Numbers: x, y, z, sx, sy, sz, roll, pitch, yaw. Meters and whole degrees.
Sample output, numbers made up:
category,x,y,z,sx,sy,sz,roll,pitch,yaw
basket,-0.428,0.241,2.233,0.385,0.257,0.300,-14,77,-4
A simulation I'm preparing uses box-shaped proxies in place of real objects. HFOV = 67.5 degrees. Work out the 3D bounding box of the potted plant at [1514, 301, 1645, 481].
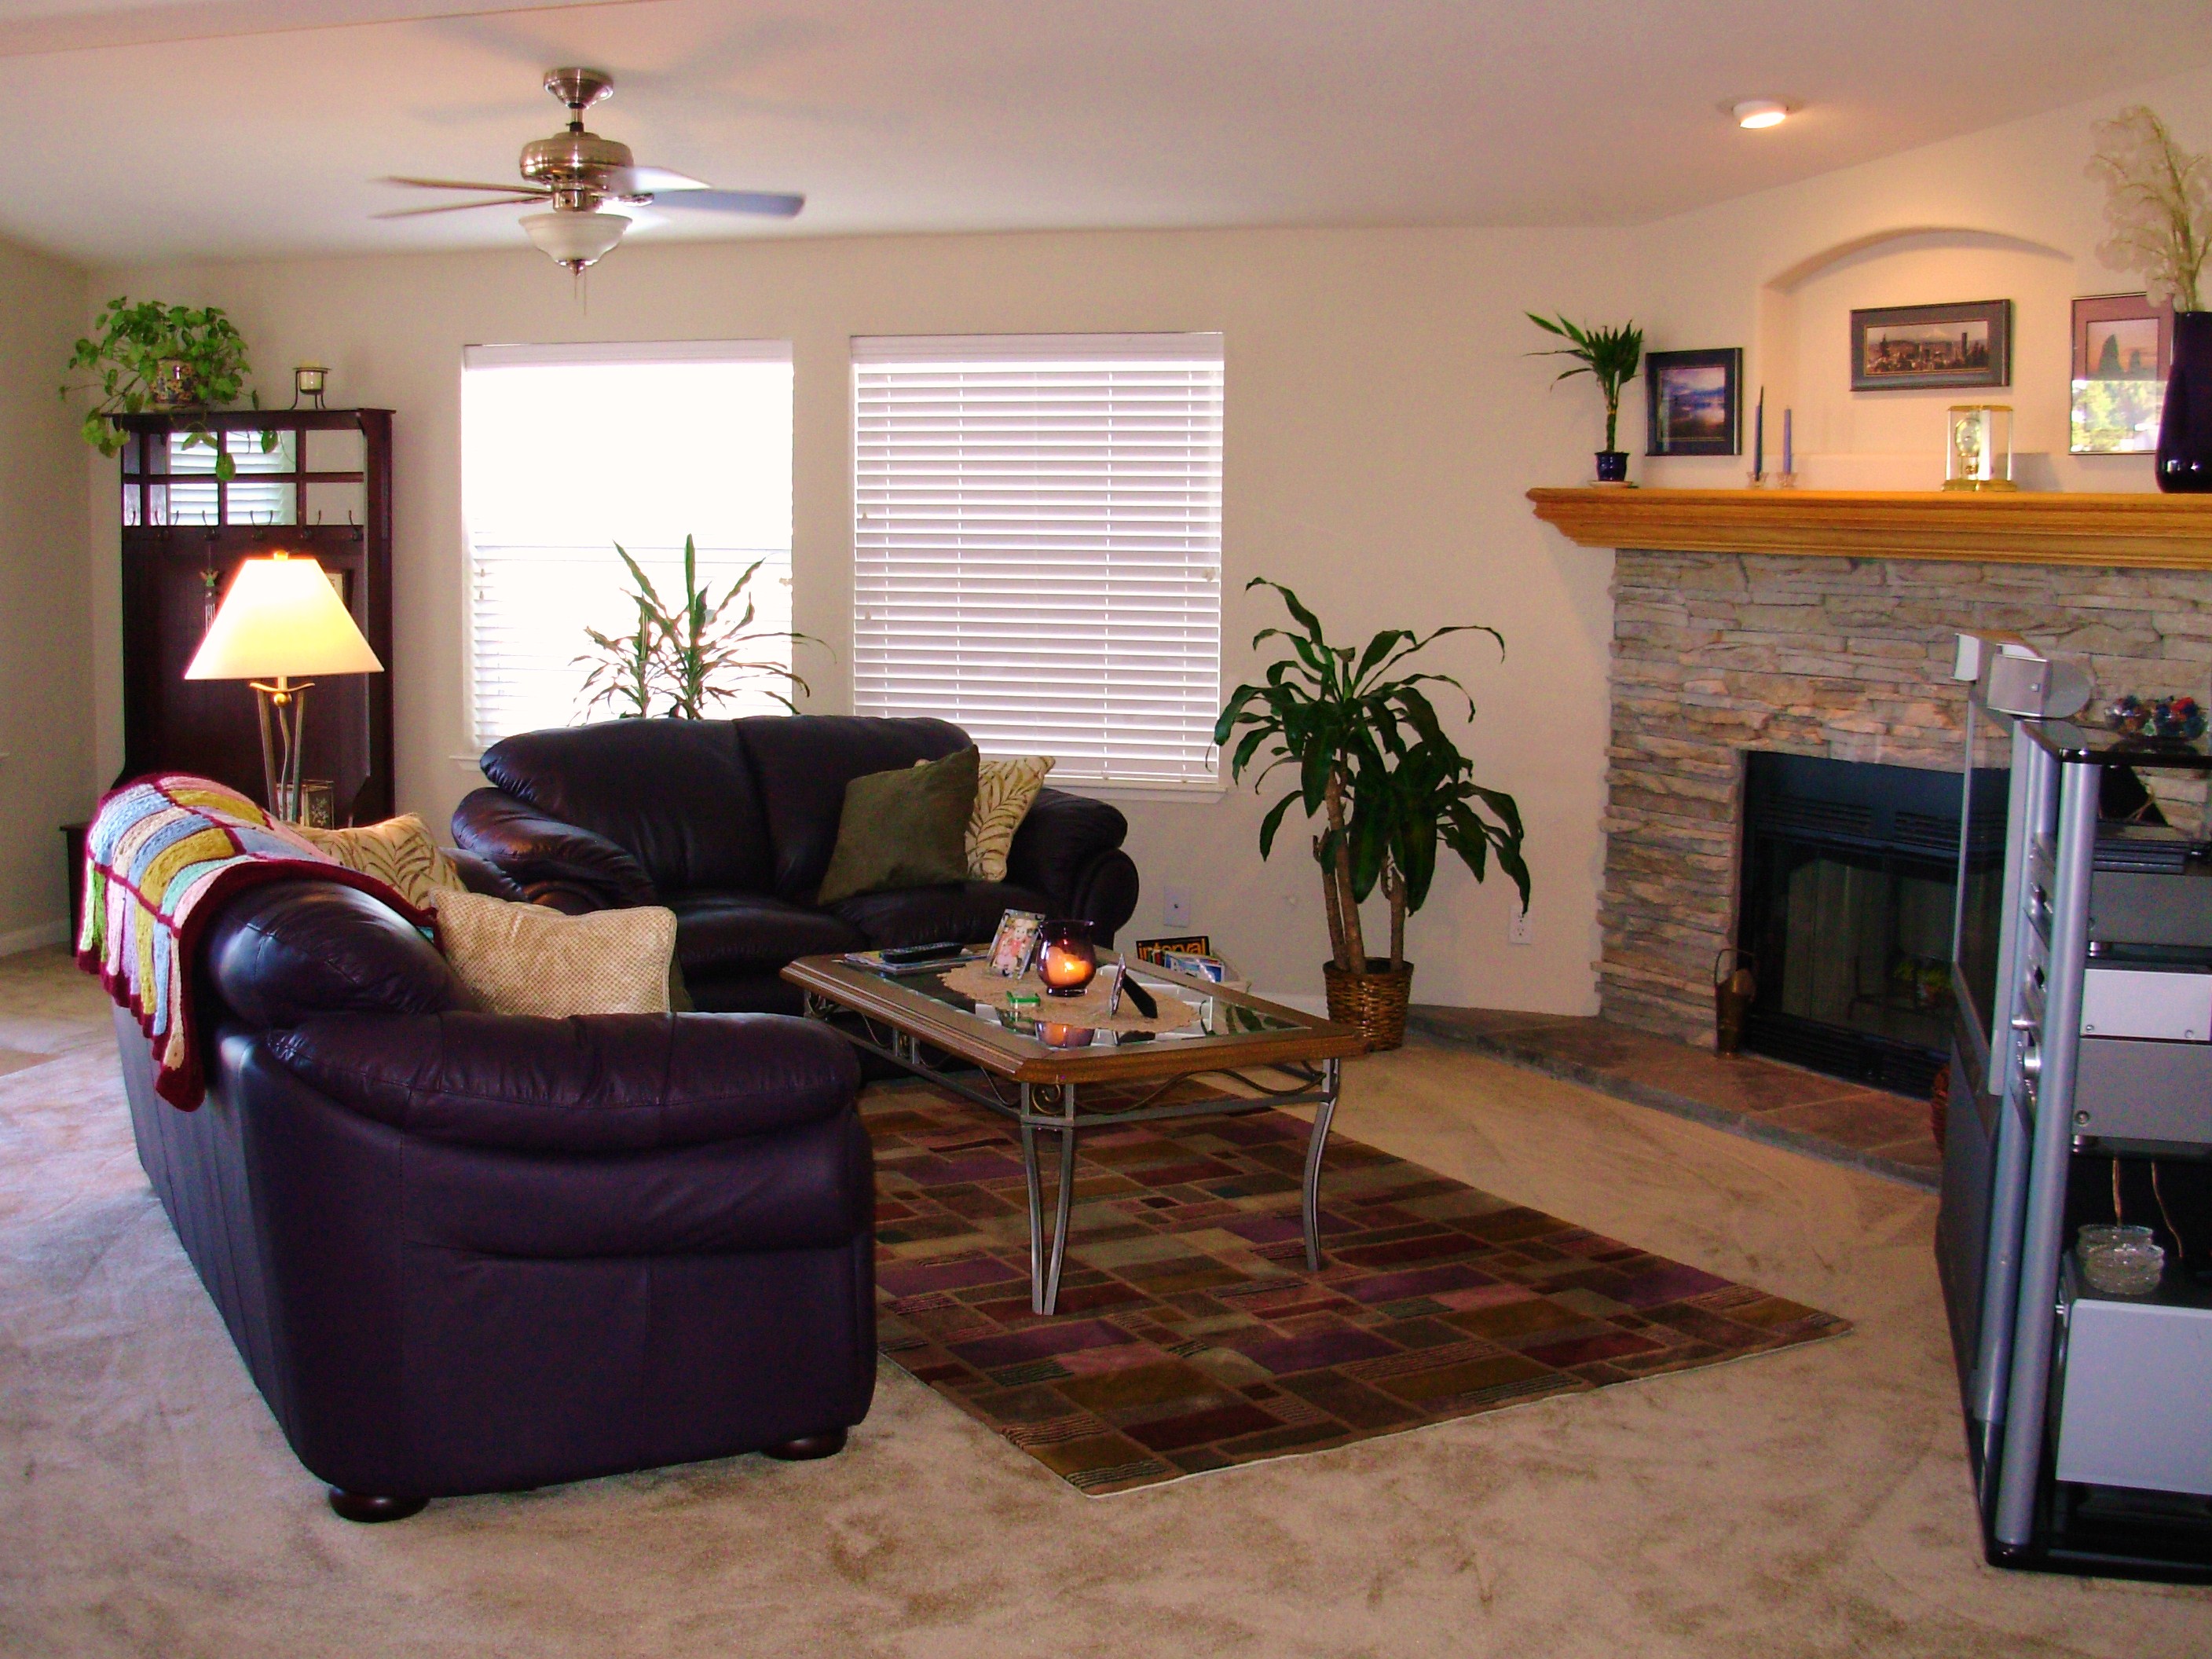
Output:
category,x,y,z,sx,sy,sz,roll,pitch,yaw
potted plant,1.755,-1.470,5.677,0.471,0.531,0.406,-12,13,-31

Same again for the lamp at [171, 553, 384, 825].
category,x,y,z,sx,sy,sz,roll,pitch,yaw
lamp,-2.467,-0.349,4.971,0.475,0.615,0.446,-2,-9,-36

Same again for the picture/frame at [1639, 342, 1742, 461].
category,x,y,z,sx,sy,sz,roll,pitch,yaw
picture/frame,2.001,-1.456,5.611,0.048,0.426,0.502,-4,7,-39

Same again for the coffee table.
category,x,y,z,sx,sy,sz,roll,pitch,yaw
coffee table,0.054,0.517,3.921,0.918,0.491,1.318,0,6,-29

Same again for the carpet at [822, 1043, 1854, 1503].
category,x,y,z,sx,sy,sz,roll,pitch,yaw
carpet,0.324,1.022,3.982,1.944,0.032,1.779,-3,9,-26

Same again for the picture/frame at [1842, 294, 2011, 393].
category,x,y,z,sx,sy,sz,roll,pitch,yaw
picture/frame,2.508,-1.457,5.024,0.043,0.292,0.552,-3,9,-24

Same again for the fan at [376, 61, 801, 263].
category,x,y,z,sx,sy,sz,roll,pitch,yaw
fan,-1.321,-1.700,4.265,1.026,0.404,0.991,11,17,37

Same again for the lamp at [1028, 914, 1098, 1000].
category,x,y,z,sx,sy,sz,roll,pitch,yaw
lamp,-0.144,0.322,4.136,0.196,0.193,0.175,1,-4,-5

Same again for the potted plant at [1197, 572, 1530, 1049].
category,x,y,z,sx,sy,sz,roll,pitch,yaw
potted plant,0.952,-0.072,5.909,1.027,1.629,0.899,3,10,7

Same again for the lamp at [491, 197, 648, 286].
category,x,y,z,sx,sy,sz,roll,pitch,yaw
lamp,-1.399,-1.571,4.364,0.253,0.130,0.302,-1,8,-12

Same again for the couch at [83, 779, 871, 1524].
category,x,y,z,sx,sy,sz,roll,pitch,yaw
couch,-1.458,0.510,3.596,1.228,0.905,2.069,3,6,-36

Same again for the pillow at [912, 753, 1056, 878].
category,x,y,z,sx,sy,sz,roll,pitch,yaw
pillow,-0.402,-0.070,5.766,0.426,0.361,0.126,10,-18,43
